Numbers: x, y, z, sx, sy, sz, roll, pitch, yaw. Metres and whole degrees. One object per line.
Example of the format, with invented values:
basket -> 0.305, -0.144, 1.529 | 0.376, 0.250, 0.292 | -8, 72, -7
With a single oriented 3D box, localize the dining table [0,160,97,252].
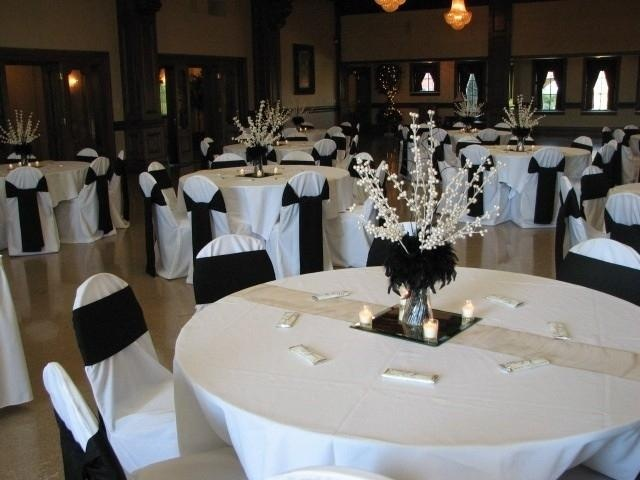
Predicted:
dining table -> -3.401, -0.614, 6.373 | 1.025, 0.758, 1.148 | 1, 11, 7

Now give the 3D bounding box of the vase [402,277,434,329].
vase -> 0.418, 0.266, 2.200 | 0.144, 0.196, 0.155 | -3, 15, -10

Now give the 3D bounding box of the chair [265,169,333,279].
chair -> -0.217, -0.137, 4.767 | 0.657, 1.198, 0.596 | -5, 23, -13

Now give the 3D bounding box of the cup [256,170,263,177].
cup -> -0.685, -0.742, 5.506 | 0.056, 0.128, 0.067 | -2, 21, -1

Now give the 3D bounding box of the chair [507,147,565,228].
chair -> 3.023, -0.732, 6.891 | 0.655, 1.095, 0.387 | 3, 12, 24

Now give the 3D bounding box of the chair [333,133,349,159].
chair -> 0.411, -1.918, 10.039 | 0.228, 0.523, 0.153 | 0, 10, -12

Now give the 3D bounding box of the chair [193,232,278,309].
chair -> -0.543, 0.100, 3.086 | 0.369, 0.619, 0.423 | -8, 9, -17

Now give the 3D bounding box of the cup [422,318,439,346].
cup -> 0.462, 0.376, 2.073 | 0.073, 0.099, 0.078 | -3, 15, 1

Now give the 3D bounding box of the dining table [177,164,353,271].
dining table -> -0.552, -0.400, 5.402 | 1.249, 0.789, 1.405 | -2, 20, -2

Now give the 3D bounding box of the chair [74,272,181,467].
chair -> -0.919, 0.622, 2.353 | 0.438, 0.714, 0.392 | 22, 39, 23
